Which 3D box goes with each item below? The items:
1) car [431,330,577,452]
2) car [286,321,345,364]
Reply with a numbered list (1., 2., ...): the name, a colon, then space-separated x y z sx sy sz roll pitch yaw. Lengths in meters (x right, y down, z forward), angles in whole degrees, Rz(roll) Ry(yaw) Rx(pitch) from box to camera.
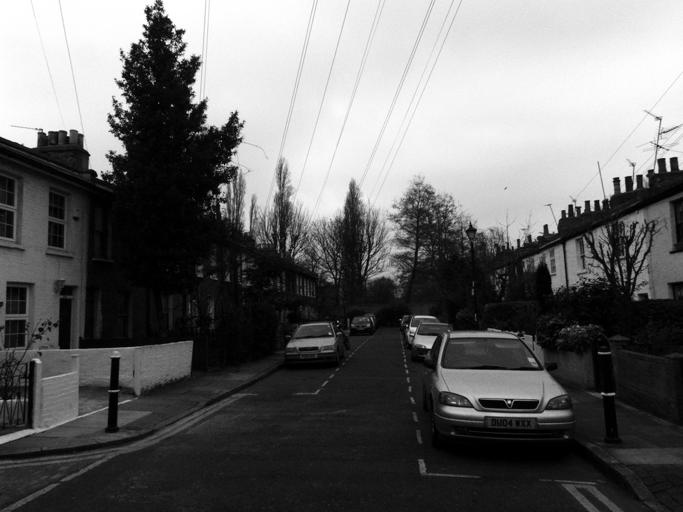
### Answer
1. car: 2.724 2.310 11.364 1.341 1.175 3.048 -1 -18 3
2. car: -1.029 3.381 23.953 2.151 1.553 2.407 0 -1 -6
